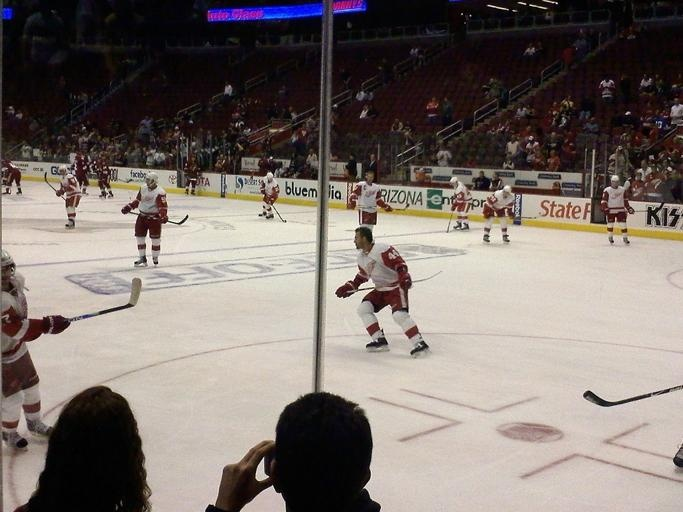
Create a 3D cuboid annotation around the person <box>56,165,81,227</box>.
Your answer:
[{"bbox_3d":[-7.387,-1.566,17.689,0.545,1.590,1.427,-1,7,-23],"label":"person"}]

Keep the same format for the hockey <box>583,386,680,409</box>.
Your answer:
[{"bbox_3d":[2.596,1.278,5.879,0.757,0.153,0.062,-22,-43,21],"label":"hockey"}]

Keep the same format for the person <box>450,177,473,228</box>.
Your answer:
[{"bbox_3d":[3.310,-1.436,18.293,0.513,1.449,1.302,3,6,12],"label":"person"}]

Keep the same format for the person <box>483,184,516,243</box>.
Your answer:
[{"bbox_3d":[3.971,-1.068,16.655,0.732,1.418,1.616,4,6,14],"label":"person"}]

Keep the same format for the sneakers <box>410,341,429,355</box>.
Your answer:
[{"bbox_3d":[0.855,1.027,7.402,0.217,0.181,0.183,4,7,21],"label":"sneakers"}]

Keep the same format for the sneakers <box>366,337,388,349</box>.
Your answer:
[{"bbox_3d":[0.405,1.015,7.583,0.222,0.153,0.117,3,-4,1],"label":"sneakers"}]

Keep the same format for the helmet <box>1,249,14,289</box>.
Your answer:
[{"bbox_3d":[-2.509,0.120,4.922,0.088,0.267,0.482,-1,7,-28],"label":"helmet"}]

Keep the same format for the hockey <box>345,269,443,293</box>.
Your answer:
[{"bbox_3d":[0.726,0.364,8.982,1.375,0.054,0.193,-11,44,-28],"label":"hockey"}]

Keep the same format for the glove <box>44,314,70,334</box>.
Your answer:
[{"bbox_3d":[-2.166,0.512,4.954,0.176,0.095,0.137,2,5,3],"label":"glove"}]

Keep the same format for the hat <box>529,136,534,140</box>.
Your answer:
[{"bbox_3d":[6.064,-3.748,20.989,0.125,0.059,0.174,-1,12,25],"label":"hat"}]

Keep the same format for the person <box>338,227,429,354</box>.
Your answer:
[{"bbox_3d":[0.570,0.509,9.079,1.033,1.600,0.939,13,-41,-22],"label":"person"}]

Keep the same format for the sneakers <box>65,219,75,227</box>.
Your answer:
[{"bbox_3d":[-7.241,-0.858,17.419,0.292,0.219,0.201,12,12,32],"label":"sneakers"}]

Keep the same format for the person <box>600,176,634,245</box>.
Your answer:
[{"bbox_3d":[6.798,-1.120,16.212,0.738,1.659,0.675,4,7,16],"label":"person"}]

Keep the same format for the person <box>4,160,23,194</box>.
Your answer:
[{"bbox_3d":[-13.532,-3.184,26.833,0.564,1.309,3.953,-1,7,-28],"label":"person"}]

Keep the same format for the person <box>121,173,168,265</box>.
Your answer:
[{"bbox_3d":[-3.792,-0.728,12.699,0.703,1.752,1.039,0,7,-18],"label":"person"}]

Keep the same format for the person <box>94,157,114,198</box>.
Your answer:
[{"bbox_3d":[-9.485,-3.130,26.155,0.679,1.688,1.421,0,7,-20],"label":"person"}]

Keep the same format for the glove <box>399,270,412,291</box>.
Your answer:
[{"bbox_3d":[0.709,0.275,7.373,0.129,0.218,0.206,3,6,8],"label":"glove"}]

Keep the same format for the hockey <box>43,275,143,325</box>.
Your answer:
[{"bbox_3d":[-3.405,0.616,8.931,1.343,0.458,0.248,-14,20,-28],"label":"hockey"}]
